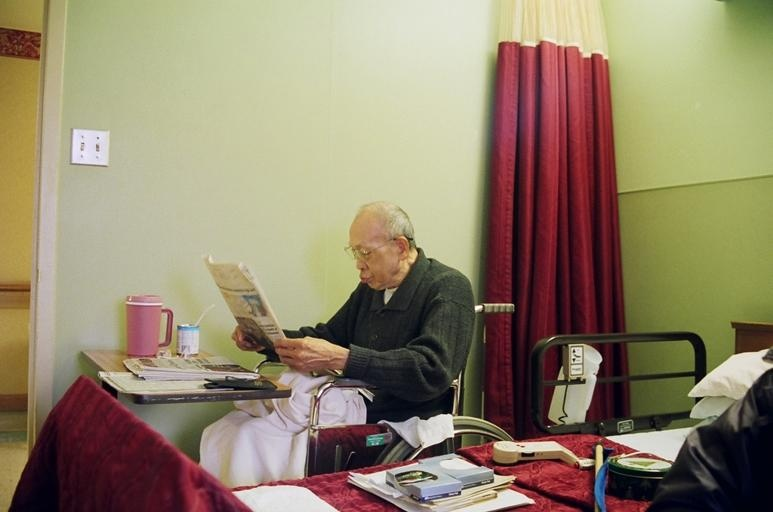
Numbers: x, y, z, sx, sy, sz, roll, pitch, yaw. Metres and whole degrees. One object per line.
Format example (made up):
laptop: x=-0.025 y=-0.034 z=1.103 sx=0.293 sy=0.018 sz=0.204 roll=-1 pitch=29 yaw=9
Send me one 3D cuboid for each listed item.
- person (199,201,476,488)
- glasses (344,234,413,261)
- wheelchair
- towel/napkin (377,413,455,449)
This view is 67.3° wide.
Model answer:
person: x=-0.165 y=0.467 z=2.487 sx=1.178 sy=1.214 sz=0.921 roll=0 pitch=5 yaw=-14
glasses: x=-0.031 y=-0.042 z=2.404 sx=0.156 sy=0.042 sz=0.151 roll=-17 pitch=2 yaw=-27
wheelchair: x=-0.030 y=0.512 z=2.237 sx=0.603 sy=0.681 sz=0.487 roll=6 pitch=-9 yaw=-31
towel/napkin: x=0.149 y=0.628 z=2.108 sx=0.150 sy=0.057 sz=0.149 roll=0 pitch=0 yaw=-36
